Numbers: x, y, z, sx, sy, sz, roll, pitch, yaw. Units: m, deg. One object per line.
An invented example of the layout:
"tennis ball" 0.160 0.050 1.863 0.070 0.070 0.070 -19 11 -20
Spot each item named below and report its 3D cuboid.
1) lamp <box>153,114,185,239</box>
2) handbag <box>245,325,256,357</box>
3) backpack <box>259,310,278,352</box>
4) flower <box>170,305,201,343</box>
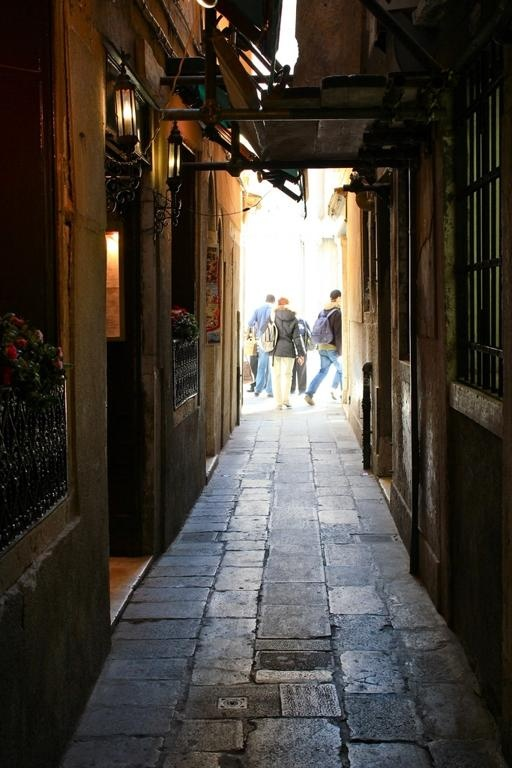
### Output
"lamp" -0.716 -1.635 5.167 0.197 1.034 0.142 -1 -8 0
"handbag" -0.119 -1.049 15.895 0.356 1.007 0.470 0 -2 -2
"backpack" 0.311 -1.215 14.533 0.303 1.373 0.791 3 0 -5
"flower" -0.720 -0.573 6.198 0.198 0.349 0.918 0 0 6
